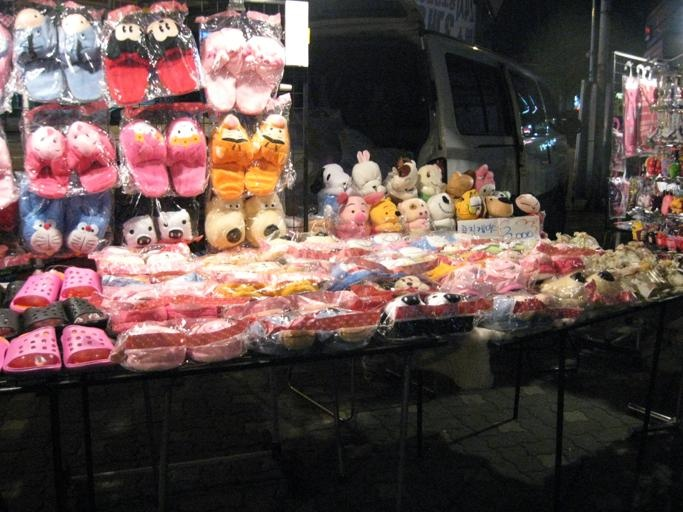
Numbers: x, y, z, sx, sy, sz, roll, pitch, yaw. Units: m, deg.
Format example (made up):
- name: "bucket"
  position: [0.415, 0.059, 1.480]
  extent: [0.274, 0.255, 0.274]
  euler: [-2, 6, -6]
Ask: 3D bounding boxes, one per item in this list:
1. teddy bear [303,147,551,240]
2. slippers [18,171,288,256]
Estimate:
- name: "teddy bear"
  position: [0.480, -0.387, 3.583]
  extent: [1.467, 0.561, 0.747]
  euler: [0, 8, 16]
- name: "slippers"
  position: [-1.043, -0.246, 3.176]
  extent: [1.260, 0.429, 0.393]
  euler: [-4, 8, -17]
